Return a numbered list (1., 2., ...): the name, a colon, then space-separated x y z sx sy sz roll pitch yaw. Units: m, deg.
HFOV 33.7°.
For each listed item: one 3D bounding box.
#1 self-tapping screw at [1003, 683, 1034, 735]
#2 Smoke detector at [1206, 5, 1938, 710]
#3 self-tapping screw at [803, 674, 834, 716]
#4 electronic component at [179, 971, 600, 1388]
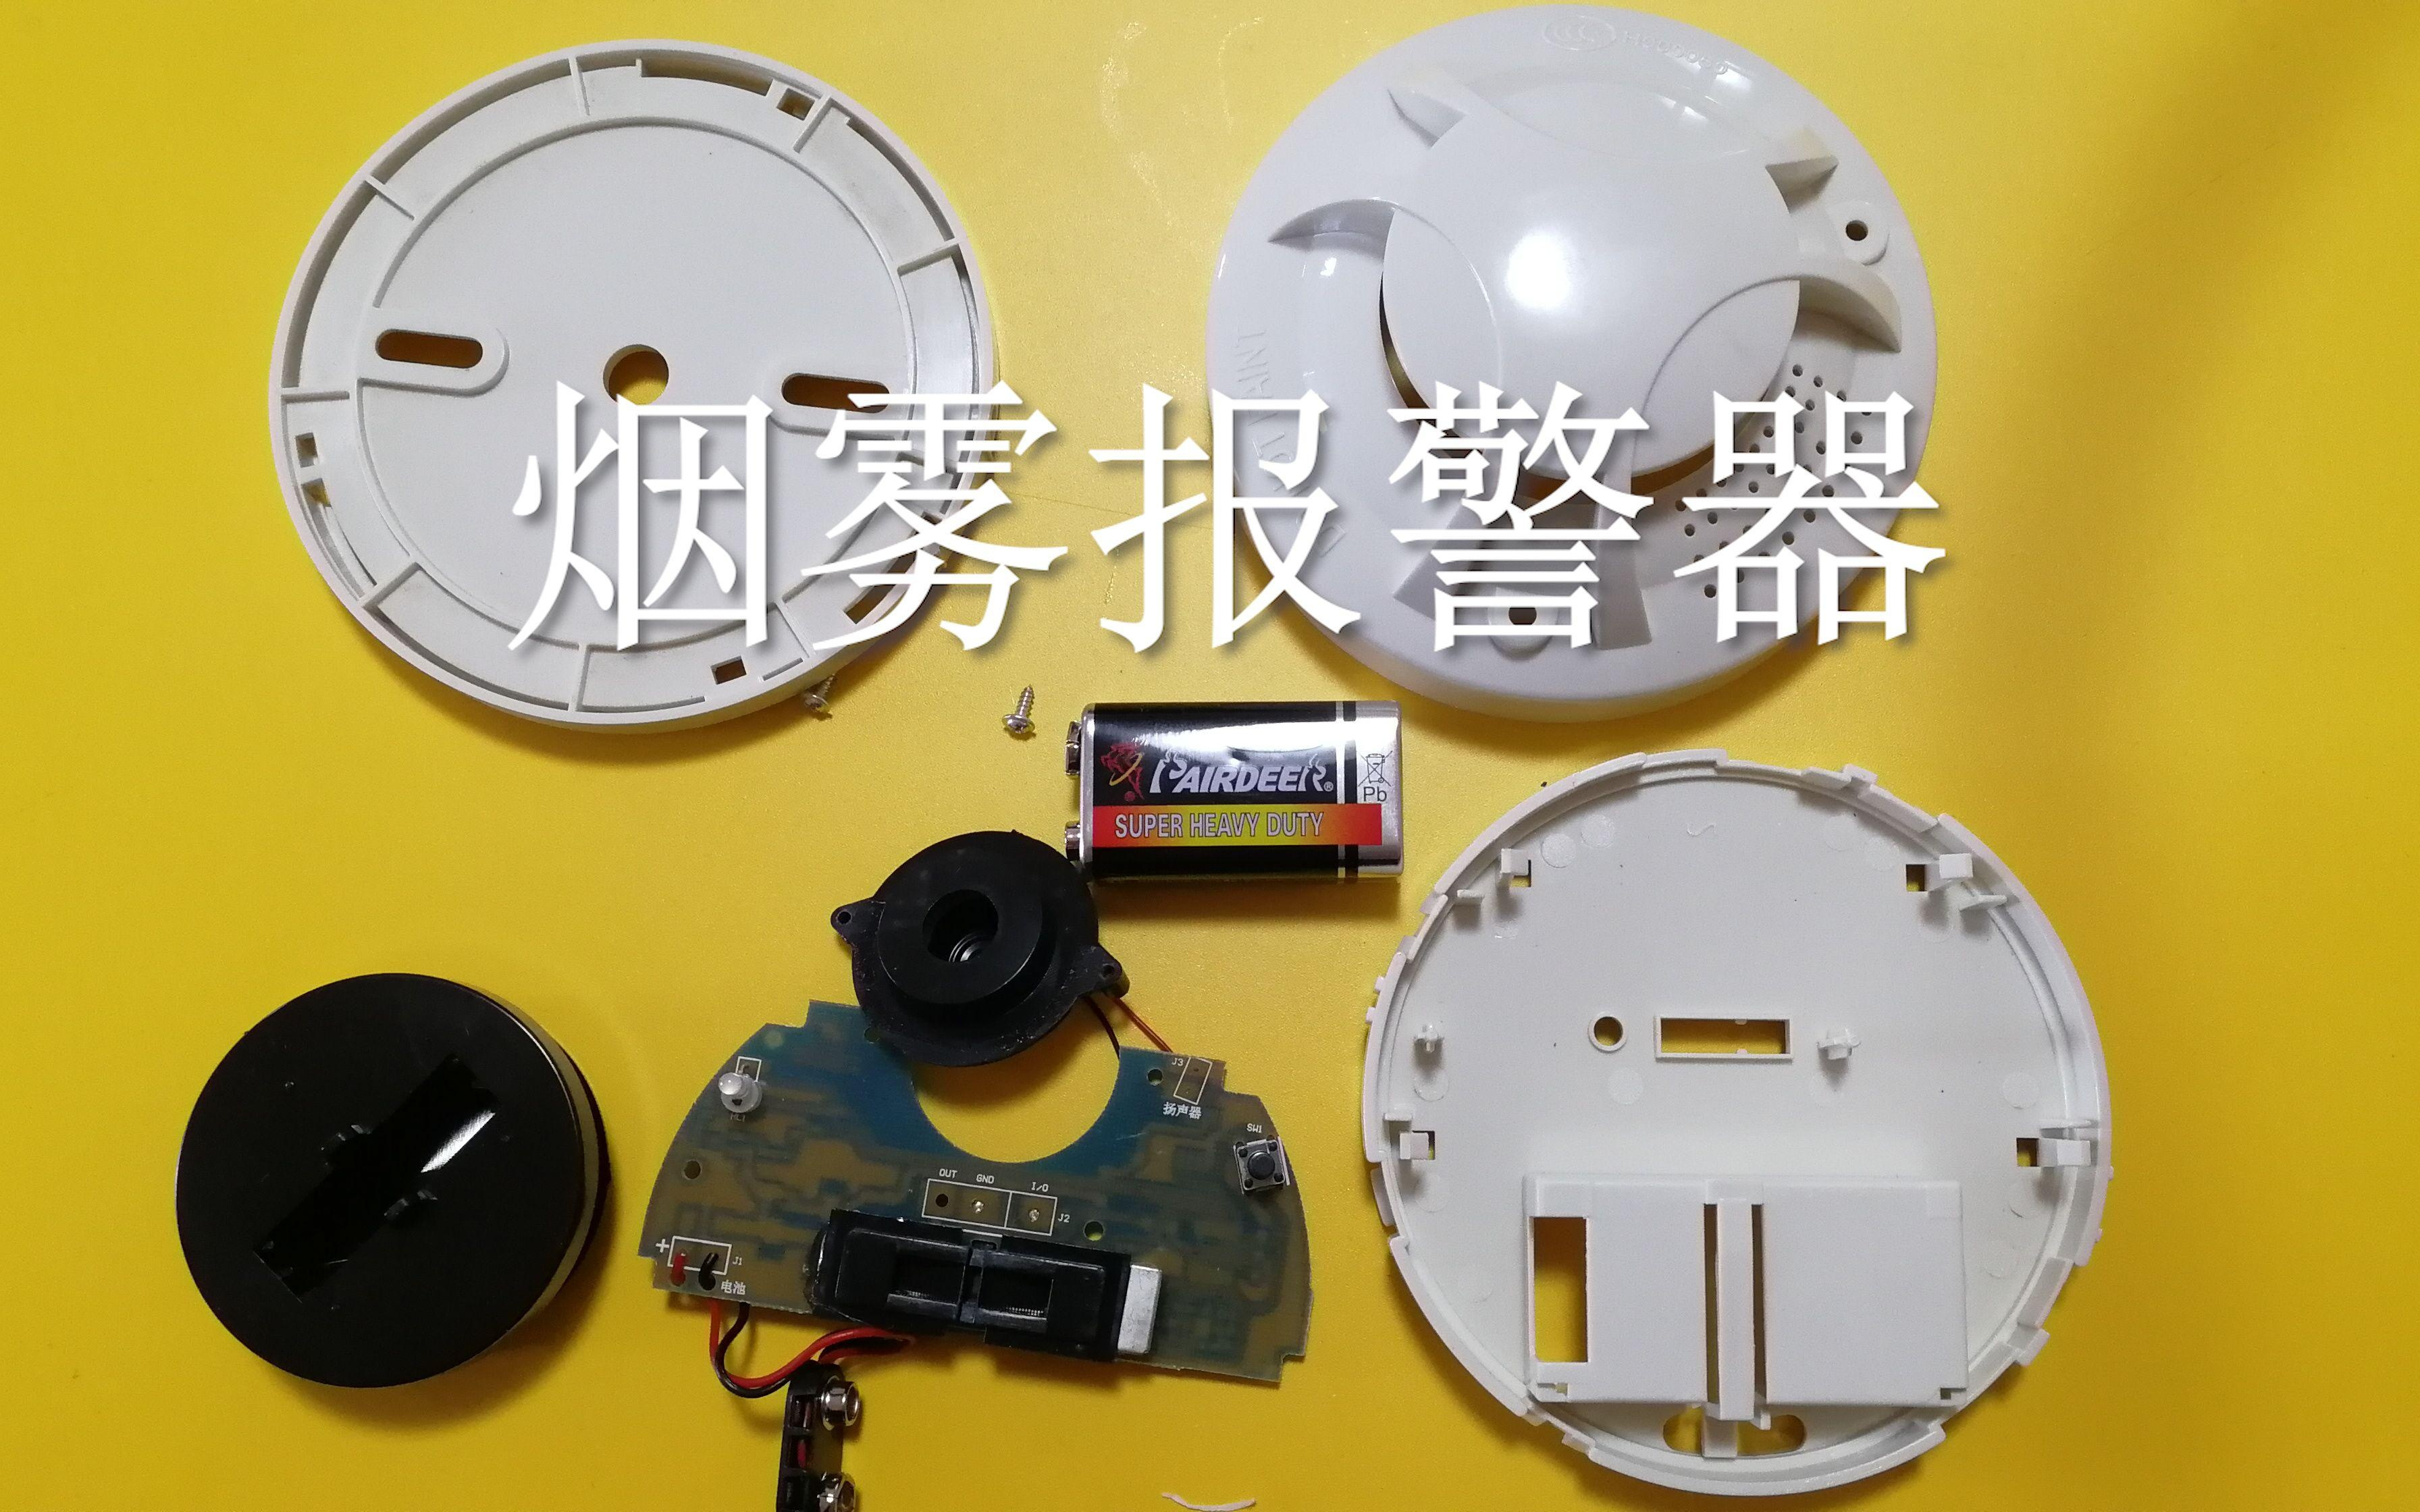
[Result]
1. self-tapping screw: -0.322 -0.077 6.711 0.048 0.077 0.035 16 1 12
2. Smoke detector: 0.604 -0.663 6.731 1.198 1.137 0.446 -2 -17 11
3. self-tapping screw: -0.660 -0.099 6.721 0.051 0.060 0.023 3 -17 -5
4. electronic component: -1.353 0.702 6.585 0.681 0.646 0.162 1 -17 1
